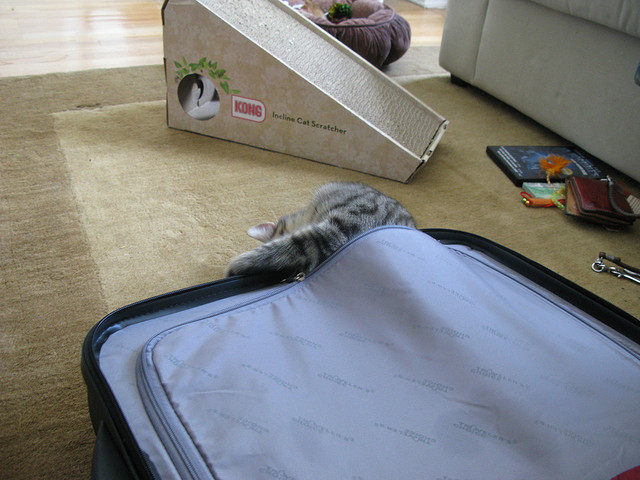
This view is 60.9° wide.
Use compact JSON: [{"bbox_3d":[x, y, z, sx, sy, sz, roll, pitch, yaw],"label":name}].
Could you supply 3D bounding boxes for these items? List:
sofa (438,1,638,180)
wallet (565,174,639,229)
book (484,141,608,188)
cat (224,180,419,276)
[{"bbox_3d":[0.776,-0.509,1.895,0.674,0.437,0.371,34,51,31],"label":"sofa"},{"bbox_3d":[0.810,-0.114,1.588,0.177,0.052,0.153,3,48,-8],"label":"wallet"},{"bbox_3d":[0.777,-0.261,1.827,0.364,0.090,0.243,3,36,-10],"label":"book"},{"bbox_3d":[0.000,-0.024,1.230,0.351,0.073,0.238,-5,26,-13],"label":"cat"}]
